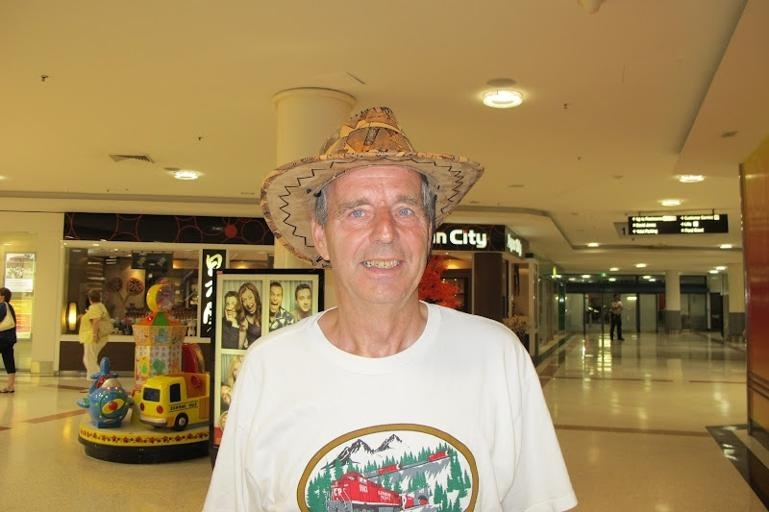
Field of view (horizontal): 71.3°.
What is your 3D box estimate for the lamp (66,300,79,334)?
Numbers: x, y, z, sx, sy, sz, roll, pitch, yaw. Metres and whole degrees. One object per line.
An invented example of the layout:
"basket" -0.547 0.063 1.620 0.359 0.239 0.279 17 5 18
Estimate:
"lamp" -6.958 1.351 11.984 0.287 0.647 0.209 -7 9 -18
